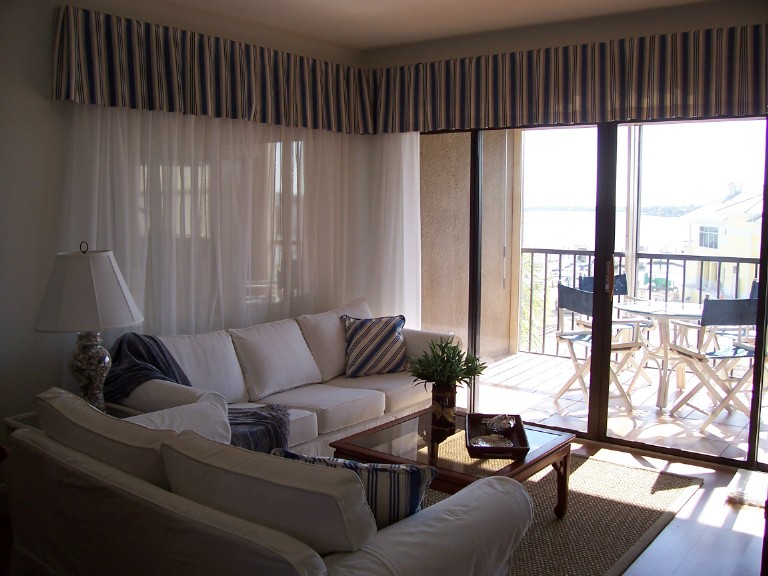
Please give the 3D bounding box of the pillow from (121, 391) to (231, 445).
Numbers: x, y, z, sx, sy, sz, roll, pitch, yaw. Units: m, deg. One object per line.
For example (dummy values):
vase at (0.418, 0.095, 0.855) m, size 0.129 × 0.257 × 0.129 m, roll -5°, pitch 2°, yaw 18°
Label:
pillow at (-0.861, 0.593, 2.798) m, size 0.322 × 0.108 × 0.323 m, roll 9°, pitch 8°, yaw 10°

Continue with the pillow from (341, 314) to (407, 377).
pillow at (-0.091, 0.486, 4.919) m, size 0.433 × 0.407 × 0.158 m, roll -4°, pitch -13°, yaw -8°

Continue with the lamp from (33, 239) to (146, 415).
lamp at (-1.674, 0.252, 3.452) m, size 0.598 × 0.880 × 0.571 m, roll -3°, pitch 4°, yaw -28°

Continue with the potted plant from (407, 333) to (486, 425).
potted plant at (0.345, 0.576, 3.767) m, size 0.436 × 0.471 × 0.420 m, roll 9°, pitch -14°, yaw -39°

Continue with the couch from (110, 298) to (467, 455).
couch at (-0.599, 0.616, 4.364) m, size 0.847 × 0.862 × 2.052 m, roll 3°, pitch 5°, yaw 40°

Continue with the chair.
chair at (2.316, 0.543, 4.736) m, size 1.128 × 0.853 × 1.298 m, roll 2°, pitch -1°, yaw 44°
